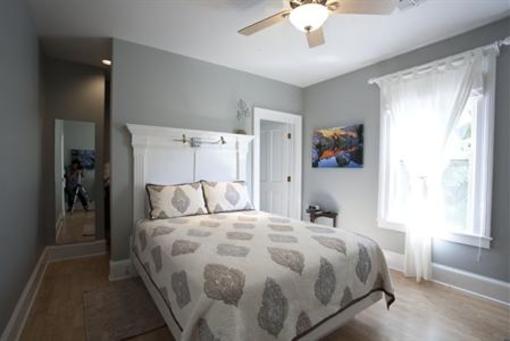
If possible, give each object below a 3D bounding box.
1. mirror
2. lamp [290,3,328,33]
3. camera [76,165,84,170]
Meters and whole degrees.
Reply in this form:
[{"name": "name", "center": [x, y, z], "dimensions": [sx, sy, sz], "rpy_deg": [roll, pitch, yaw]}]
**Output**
[{"name": "mirror", "center": [-2.863, 0.173, 4.959], "dimensions": [0.555, 1.921, 0.212], "rpy_deg": [-1, 4, -33]}, {"name": "lamp", "center": [0.561, -1.612, 3.292], "dimensions": [0.421, 0.240, 0.205], "rpy_deg": [1, 3, 9]}, {"name": "camera", "center": [-2.794, -0.052, 4.990], "dimensions": [0.064, 0.068, 0.091], "rpy_deg": [2, 1, 40]}]
